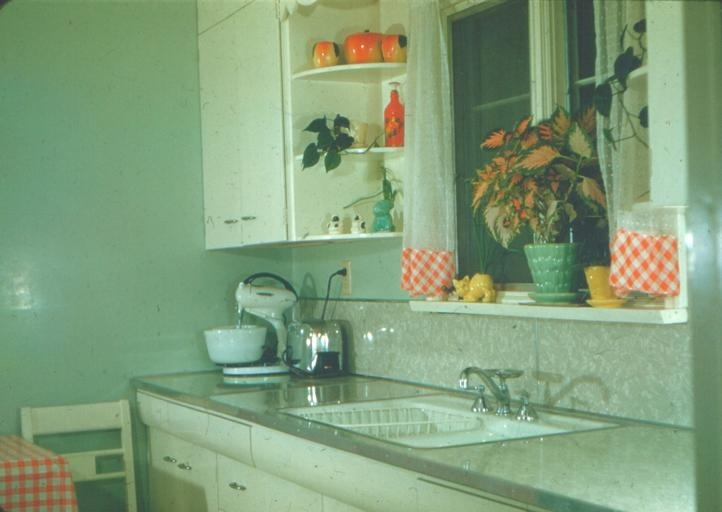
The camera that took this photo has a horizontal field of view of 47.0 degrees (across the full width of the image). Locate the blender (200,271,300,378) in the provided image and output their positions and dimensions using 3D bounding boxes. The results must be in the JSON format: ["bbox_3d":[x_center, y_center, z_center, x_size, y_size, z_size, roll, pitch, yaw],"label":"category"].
[{"bbox_3d":[-0.493,0.288,3.791,0.443,0.466,0.278,0,-2,-21],"label":"blender"}]

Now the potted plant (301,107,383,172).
[{"bbox_3d":[-0.095,-0.458,3.327,0.307,0.227,0.189,-7,7,4],"label":"potted plant"}]

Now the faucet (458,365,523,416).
[{"bbox_3d":[0.409,0.445,2.720,0.204,0.139,0.144,8,-11,-32],"label":"faucet"}]

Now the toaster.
[{"bbox_3d":[-0.187,0.408,3.695,0.281,0.239,0.314,-2,1,30],"label":"toaster"}]

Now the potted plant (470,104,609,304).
[{"bbox_3d":[0.590,-0.139,2.830,0.508,0.644,0.530,-1,-9,8],"label":"potted plant"}]

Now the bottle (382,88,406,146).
[{"bbox_3d":[0.126,-0.547,3.294,0.087,0.229,0.073,-7,7,0],"label":"bottle"}]
